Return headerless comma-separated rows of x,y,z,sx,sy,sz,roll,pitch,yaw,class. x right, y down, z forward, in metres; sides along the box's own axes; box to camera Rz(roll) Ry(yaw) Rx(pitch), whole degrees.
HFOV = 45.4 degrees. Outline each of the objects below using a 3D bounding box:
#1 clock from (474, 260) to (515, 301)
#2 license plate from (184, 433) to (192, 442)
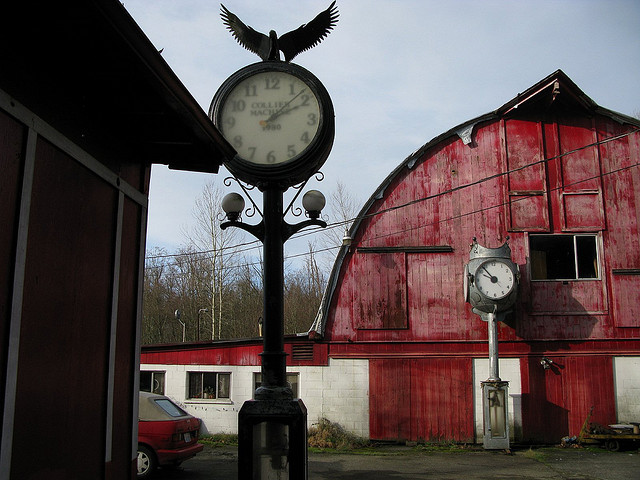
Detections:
4.078,0.996,17.883,0.768,1.028,0.160,-1,-14,3,clock
-2.478,3.688,14.247,0.024,0.149,0.191,-10,-15,12,license plate
